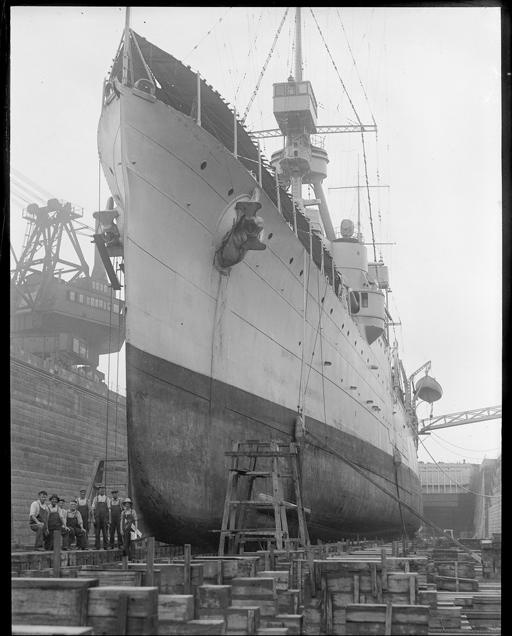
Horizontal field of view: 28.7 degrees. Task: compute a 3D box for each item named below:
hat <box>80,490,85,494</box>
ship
[{"bbox_3d":[-2.285,2.312,13.245,0.060,0.066,0.070,2,2,28],"label":"hat"},{"bbox_3d":[0.749,-0.368,18.949,1.833,8.419,9.802,2,-8,23],"label":"ship"}]
